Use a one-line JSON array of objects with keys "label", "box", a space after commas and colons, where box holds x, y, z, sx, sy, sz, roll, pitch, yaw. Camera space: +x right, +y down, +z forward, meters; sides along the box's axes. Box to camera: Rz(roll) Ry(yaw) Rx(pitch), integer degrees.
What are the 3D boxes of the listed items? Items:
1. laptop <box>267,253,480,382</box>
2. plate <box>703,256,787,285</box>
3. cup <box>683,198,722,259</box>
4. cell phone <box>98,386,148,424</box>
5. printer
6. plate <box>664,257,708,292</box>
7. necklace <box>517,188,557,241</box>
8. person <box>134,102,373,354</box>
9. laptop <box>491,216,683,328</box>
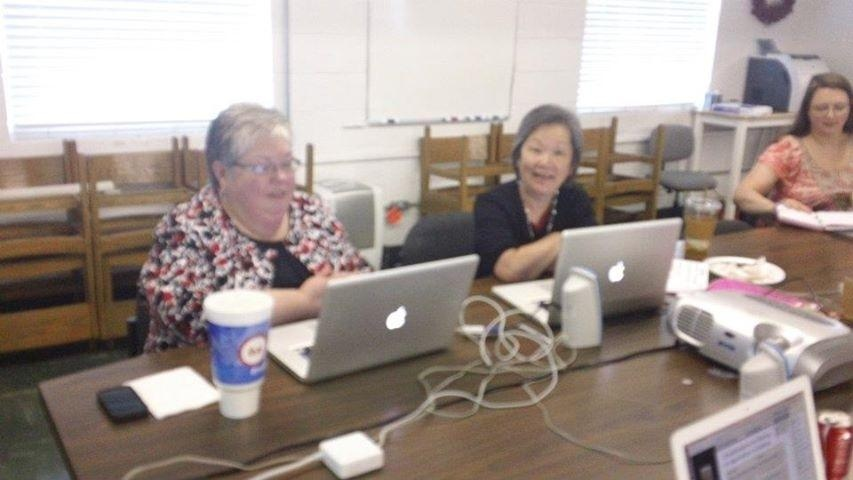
[{"label": "laptop", "box": [-0.207, 0.221, 1.754, 0.525, 0.268, 0.450, -7, 7, -40]}, {"label": "plate", "box": [1.234, 0.116, 2.211, 0.172, 0.025, 0.167, 16, 26, 34]}, {"label": "cup", "box": [1.171, -0.021, 2.390, 0.180, 0.233, 0.170, 11, -1, 0]}, {"label": "cell phone", "box": [-0.820, 0.440, 1.506, 0.132, 0.027, 0.090, 19, 14, 40]}, {"label": "printer", "box": [1.977, -0.916, 3.217, 0.271, 0.433, 0.506, 18, 27, 36]}, {"label": "plate", "box": [0.982, 0.134, 2.154, 0.179, 0.035, 0.155, 0, 24, -10]}, {"label": "necklace", "box": [0.504, -0.126, 2.539, 0.166, 0.188, 0.076, -5, 8, -9]}, {"label": "person", "box": [-0.709, -0.048, 2.273, 0.574, 0.822, 0.956, 12, 16, 32]}, {"label": "laptop", "box": [0.572, 0.049, 1.952, 0.549, 0.273, 0.373, -4, 10, -25]}]
